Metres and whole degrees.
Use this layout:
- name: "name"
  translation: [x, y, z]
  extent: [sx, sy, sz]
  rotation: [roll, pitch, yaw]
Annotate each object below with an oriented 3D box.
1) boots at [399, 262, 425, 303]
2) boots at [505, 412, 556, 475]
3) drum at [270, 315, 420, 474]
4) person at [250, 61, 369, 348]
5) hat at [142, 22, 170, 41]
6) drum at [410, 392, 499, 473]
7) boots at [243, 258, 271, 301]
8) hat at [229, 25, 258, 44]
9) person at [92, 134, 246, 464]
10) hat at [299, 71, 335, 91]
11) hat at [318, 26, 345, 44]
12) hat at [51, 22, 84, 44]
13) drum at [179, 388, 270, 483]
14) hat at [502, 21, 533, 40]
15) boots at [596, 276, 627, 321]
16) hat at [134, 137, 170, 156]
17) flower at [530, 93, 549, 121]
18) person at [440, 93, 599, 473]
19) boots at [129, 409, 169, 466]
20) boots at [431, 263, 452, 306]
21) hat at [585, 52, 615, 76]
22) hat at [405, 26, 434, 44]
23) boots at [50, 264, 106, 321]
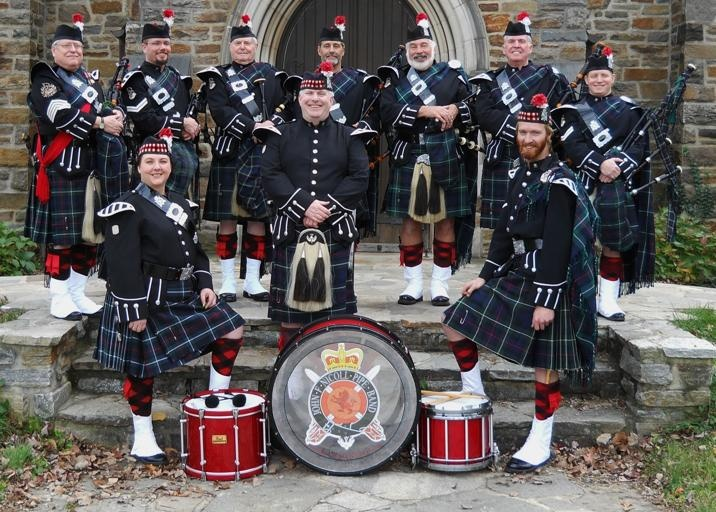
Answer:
- name: "boots"
  translation: [0.357, 0.187, 5.444]
  extent: [0.145, 0.259, 0.339]
  rotation: [0, 7, 19]
- name: "boots"
  translation: [0.927, 1.001, 4.258]
  extent: [0.177, 0.252, 0.394]
  rotation: [7, 6, 36]
- name: "drum"
  translation: [-0.073, 0.760, 4.172]
  extent: [0.884, 0.744, 0.461]
  rotation: [6, 4, -4]
- name: "person"
  translation: [-0.229, -0.274, 4.481]
  extent: [0.609, 1.593, 0.423]
  rotation: [-3, 10, -6]
- name: "hat"
  translation: [-1.331, -1.456, 5.234]
  extent: [0.156, 0.083, 0.195]
  rotation: [-4, 14, -16]
- name: "drum"
  translation: [0.495, 0.920, 4.280]
  extent: [0.464, 0.285, 0.426]
  rotation: [-1, 1, 0]
- name: "boots"
  translation: [-0.715, 0.187, 5.503]
  extent: [0.101, 0.204, 0.237]
  rotation: [-10, 18, -36]
- name: "hat"
  translation: [-0.784, -1.479, 5.313]
  extent: [0.134, 0.116, 0.233]
  rotation: [-8, 11, -37]
- name: "person"
  translation: [-1.044, 0.230, 4.318]
  extent: [0.743, 1.721, 0.311]
  rotation: [-6, 11, -22]
- name: "hat"
  translation: [-0.235, -0.964, 4.410]
  extent: [0.165, 0.106, 0.090]
  rotation: [-3, 10, -12]
- name: "hat"
  translation: [-0.189, -1.427, 5.209]
  extent: [0.197, 0.109, 0.188]
  rotation: [-7, 13, -29]
- name: "hat"
  translation: [-1.806, -1.381, 4.893]
  extent: [0.168, 0.091, 0.158]
  rotation: [4, 6, 41]
- name: "drum"
  translation: [-0.674, 0.930, 4.330]
  extent: [0.488, 0.307, 0.468]
  rotation: [-1, 5, 0]
- name: "hat"
  translation: [1.022, -1.466, 5.164]
  extent: [0.169, 0.105, 0.146]
  rotation: [3, 10, 27]
- name: "boots"
  translation: [1.639, 0.282, 5.131]
  extent: [0.145, 0.257, 0.379]
  rotation: [-2, 8, 7]
- name: "hat"
  translation: [-1.113, -0.584, 4.316]
  extent: [0.128, 0.064, 0.120]
  rotation: [-2, 4, -24]
- name: "flower"
  translation: [0.958, -0.775, 4.190]
  extent: [0.082, 0.149, 0.169]
  rotation: [2, 10, 20]
- name: "person"
  translation: [0.867, 0.142, 4.235]
  extent: [0.768, 1.953, 0.425]
  rotation: [1, 10, 15]
- name: "boots"
  translation: [-1.135, 0.984, 4.327]
  extent: [0.158, 0.238, 0.356]
  rotation: [-9, 11, -36]
- name: "boots"
  translation: [0.558, 0.180, 5.376]
  extent: [0.131, 0.244, 0.336]
  rotation: [3, 14, 6]
- name: "hat"
  translation: [1.538, -1.232, 5.078]
  extent: [0.155, 0.087, 0.117]
  rotation: [1, 9, 15]
- name: "hat"
  translation: [0.390, -1.434, 5.234]
  extent: [0.224, 0.116, 0.209]
  rotation: [5, 16, 18]
- name: "boots"
  translation: [-1.675, 0.224, 4.977]
  extent: [0.321, 0.302, 0.350]
  rotation: [0, 2, 16]
